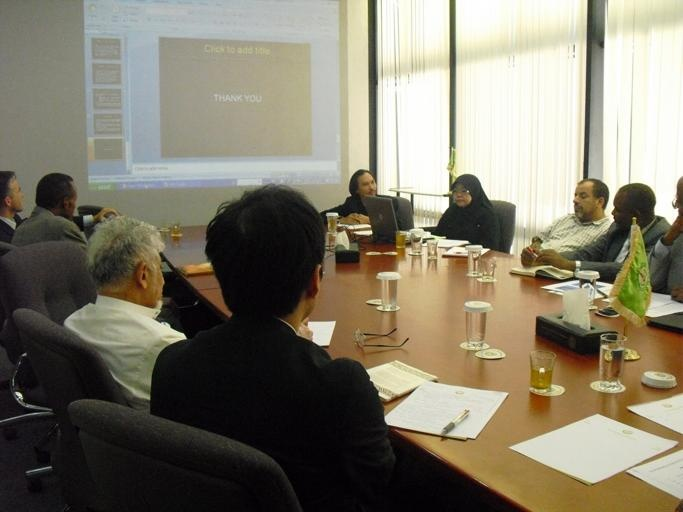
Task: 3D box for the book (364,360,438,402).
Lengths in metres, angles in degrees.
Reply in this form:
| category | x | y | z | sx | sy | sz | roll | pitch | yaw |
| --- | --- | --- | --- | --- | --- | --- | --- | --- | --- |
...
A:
| category | x | y | z | sx | sy | sz | roll | pitch | yaw |
| --- | --- | --- | --- | --- | --- | --- | --- | --- | --- |
| book | 0.194 | 0.412 | 1.875 | 0.135 | 0.024 | 0.153 | -11 | 21 | -27 |

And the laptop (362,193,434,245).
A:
| category | x | y | z | sx | sy | sz | roll | pitch | yaw |
| --- | --- | --- | --- | --- | --- | --- | --- | --- | --- |
| laptop | 0.403 | -0.309 | 4.397 | 0.381 | 0.392 | 0.495 | -9 | 14 | -33 |

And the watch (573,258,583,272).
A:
| category | x | y | z | sx | sy | sz | roll | pitch | yaw |
| --- | --- | --- | --- | --- | --- | --- | --- | --- | --- |
| watch | 1.378 | 0.056 | 3.280 | 0.035 | 0.064 | 0.063 | 3 | -16 | 18 |
